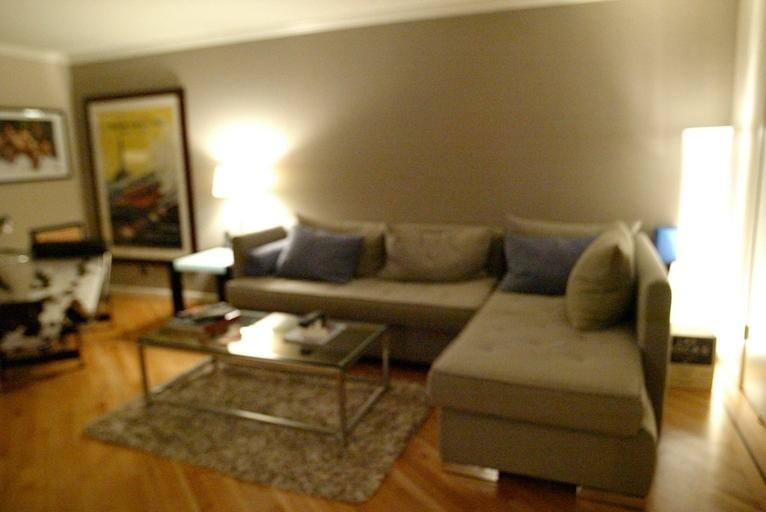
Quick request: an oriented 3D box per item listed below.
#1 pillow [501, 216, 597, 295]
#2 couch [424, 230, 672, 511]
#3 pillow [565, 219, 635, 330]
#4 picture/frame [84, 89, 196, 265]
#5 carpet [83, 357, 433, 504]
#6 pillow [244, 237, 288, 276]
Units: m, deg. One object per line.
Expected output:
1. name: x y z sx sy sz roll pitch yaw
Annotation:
1. pillow: 1.269 0.012 4.915 0.824 0.551 0.298 2 26 -29
2. couch: 1.209 0.792 4.059 1.526 1.227 1.628 5 21 26
3. pillow: 1.633 0.121 4.480 0.527 0.643 0.921 -1 13 26
4. picture/frame: -2.663 -0.861 6.623 1.305 1.825 0.178 0 13 19
5. carpet: -0.801 1.203 4.391 2.173 0.478 1.159 -1 11 19
6. pillow: -1.108 0.024 5.610 0.167 0.180 0.500 3 16 21
